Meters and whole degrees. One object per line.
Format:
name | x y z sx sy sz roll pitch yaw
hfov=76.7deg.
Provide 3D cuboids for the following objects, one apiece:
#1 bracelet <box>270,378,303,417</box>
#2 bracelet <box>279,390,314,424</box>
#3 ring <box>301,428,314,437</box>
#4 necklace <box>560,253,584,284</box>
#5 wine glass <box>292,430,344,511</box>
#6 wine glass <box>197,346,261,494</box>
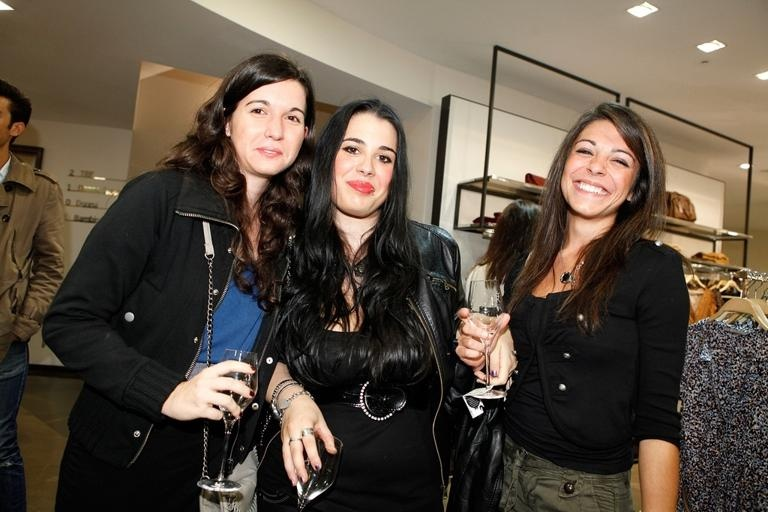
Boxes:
bracelet | -0.415 0.597 2.090 0.133 0.146 0.064 14 -9 -22
bracelet | -0.382 0.630 2.047 0.104 0.137 0.055 6 -13 14
ring | -0.286 0.661 1.829 0.029 0.034 0.031 7 -14 2
necklace | 0.837 0.062 2.174 0.038 0.132 0.078 28 -4 -40
wine glass | -0.234 0.815 1.862 0.134 0.294 0.060 15 -11 1
wine glass | -0.591 0.619 1.859 0.158 0.505 0.316 8 1 -18
